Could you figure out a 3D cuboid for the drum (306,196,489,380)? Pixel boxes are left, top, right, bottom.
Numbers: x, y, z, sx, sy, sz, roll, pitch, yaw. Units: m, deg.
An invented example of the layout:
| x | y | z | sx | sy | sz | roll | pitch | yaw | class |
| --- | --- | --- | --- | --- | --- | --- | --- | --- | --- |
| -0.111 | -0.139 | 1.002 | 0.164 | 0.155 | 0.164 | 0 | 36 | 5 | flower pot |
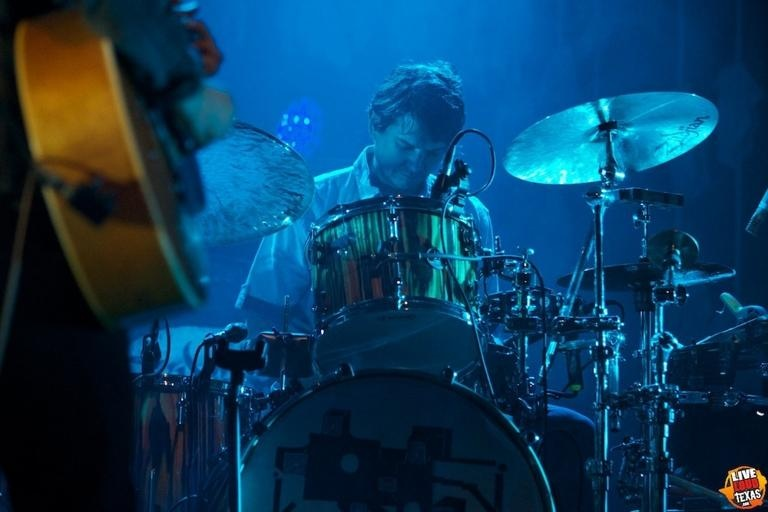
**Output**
| x | y | z | sx | sy | sz | roll | pitch | yaw | class |
| --- | --- | --- | --- | --- | --- | --- | --- | --- | --- |
| 0.009 | 0.193 | 6.520 | 0.931 | 0.710 | 0.904 | -1 | -9 | 0 | drum |
